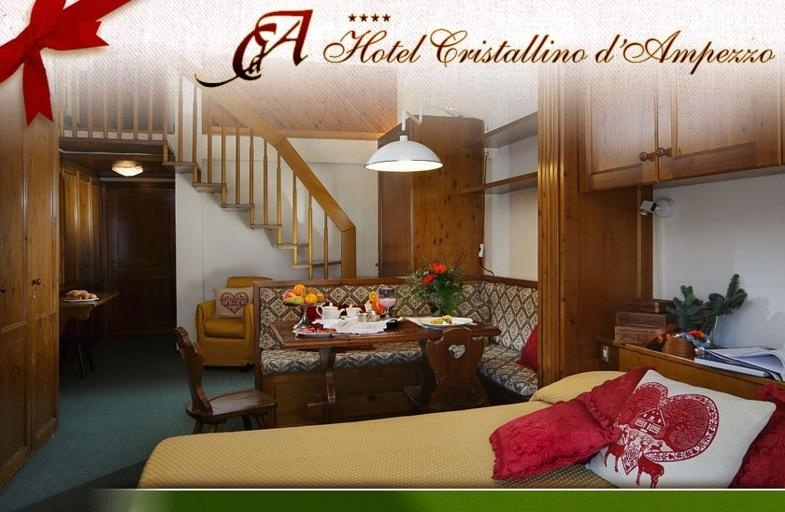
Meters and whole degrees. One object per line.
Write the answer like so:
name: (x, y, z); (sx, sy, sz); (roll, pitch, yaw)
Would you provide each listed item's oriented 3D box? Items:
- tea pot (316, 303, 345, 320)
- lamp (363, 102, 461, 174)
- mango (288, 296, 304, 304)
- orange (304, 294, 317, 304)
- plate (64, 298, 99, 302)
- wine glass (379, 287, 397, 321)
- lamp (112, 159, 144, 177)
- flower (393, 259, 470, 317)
tea pot: (-0.387, 0.351, 3.461); (0.147, 0.098, 0.090); (1, -6, -7)
lamp: (0.064, -0.748, 3.560); (0.428, 0.280, 0.418); (-4, 18, 9)
mango: (-0.583, 0.269, 3.353); (0.069, 0.039, 0.040); (12, 0, -4)
orange: (-0.493, 0.265, 3.382); (0.074, 0.065, 0.073); (1, 2, 40)
plate: (-2.819, 0.402, 5.014); (0.298, 0.016, 0.163); (-1, 2, -1)
wine glass: (-0.027, 0.311, 3.679); (0.165, 0.264, 0.166); (-2, 3, 1)
lamp: (-2.813, -0.940, 5.919); (0.273, 0.163, 0.552); (-1, 2, -26)
flower: (0.269, 0.217, 3.884); (0.435, 0.446, 0.440); (-1, 4, -8)
